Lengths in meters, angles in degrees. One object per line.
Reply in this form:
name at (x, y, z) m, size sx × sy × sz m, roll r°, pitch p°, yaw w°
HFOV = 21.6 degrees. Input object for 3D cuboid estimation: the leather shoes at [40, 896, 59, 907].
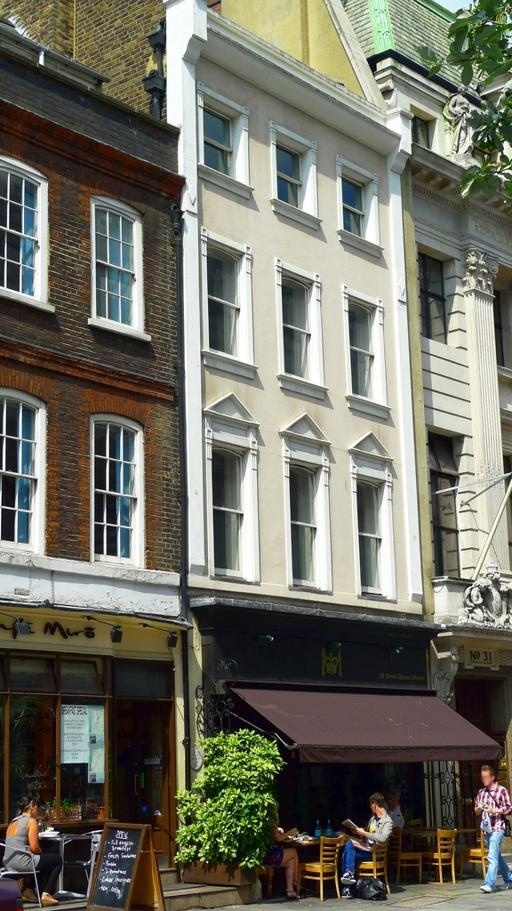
leather shoes at (-2.307, 4.963, 15.030) m, size 0.164 × 0.136 × 0.089 m, roll 5°, pitch -5°, yaw -28°

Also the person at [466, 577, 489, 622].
person at (3.952, 2.645, 24.500) m, size 0.533 × 0.776 × 0.213 m, roll 6°, pitch -14°, yaw -35°

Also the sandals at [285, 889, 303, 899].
sandals at (0.510, 5.811, 17.827) m, size 0.281 × 0.122 × 0.093 m, roll 1°, pitch -3°, yaw -20°

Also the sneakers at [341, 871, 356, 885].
sneakers at (1.218, 5.675, 18.118) m, size 0.103 × 0.153 × 0.341 m, roll -4°, pitch -28°, yaw 9°

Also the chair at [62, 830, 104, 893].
chair at (-2.151, 4.919, 16.204) m, size 0.484 × 0.773 × 0.521 m, roll 4°, pitch -23°, yaw -9°

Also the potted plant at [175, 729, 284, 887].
potted plant at (-0.369, 4.452, 17.337) m, size 1.288 × 1.809 × 0.870 m, roll -4°, pitch -12°, yaw 8°

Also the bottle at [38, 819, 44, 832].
bottle at (-2.558, 4.408, 16.037) m, size 0.068 × 0.135 × 0.081 m, roll -2°, pitch -3°, yaw -3°

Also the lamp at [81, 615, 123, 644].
lamp at (-1.963, 2.238, 17.344) m, size 0.399 × 0.312 × 1.116 m, roll -7°, pitch -14°, yaw 21°

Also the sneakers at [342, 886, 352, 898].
sneakers at (1.214, 5.930, 18.285) m, size 0.064 × 0.108 × 0.209 m, roll 4°, pitch 10°, yaw 31°

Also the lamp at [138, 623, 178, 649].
lamp at (-1.332, 2.420, 18.281) m, size 0.517 × 0.250 × 0.315 m, roll 5°, pitch -5°, yaw 4°
